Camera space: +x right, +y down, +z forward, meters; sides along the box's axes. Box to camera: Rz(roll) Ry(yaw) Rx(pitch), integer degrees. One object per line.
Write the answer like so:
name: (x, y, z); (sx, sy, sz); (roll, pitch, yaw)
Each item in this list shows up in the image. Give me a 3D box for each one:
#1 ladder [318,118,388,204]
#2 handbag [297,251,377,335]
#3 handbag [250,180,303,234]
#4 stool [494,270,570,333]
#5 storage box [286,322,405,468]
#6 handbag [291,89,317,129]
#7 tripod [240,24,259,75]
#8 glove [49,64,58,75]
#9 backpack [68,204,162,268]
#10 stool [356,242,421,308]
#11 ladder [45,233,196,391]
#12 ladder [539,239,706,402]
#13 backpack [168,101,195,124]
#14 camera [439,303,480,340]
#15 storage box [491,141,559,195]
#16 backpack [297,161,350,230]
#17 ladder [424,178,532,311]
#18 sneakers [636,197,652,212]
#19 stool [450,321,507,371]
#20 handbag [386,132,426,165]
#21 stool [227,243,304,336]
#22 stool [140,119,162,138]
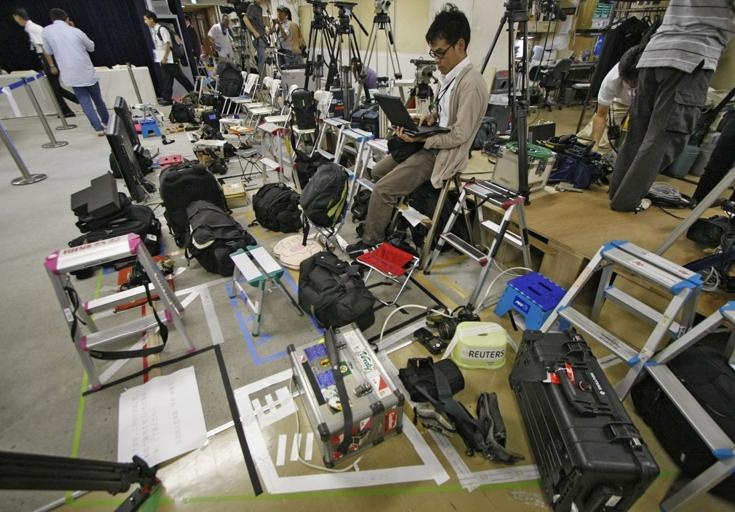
ladder: (-0.157, -1.047, 5.128); (0.384, 0.679, 1.056); (-12, 38, -16)
handbag: (-0.303, 0.212, 4.166); (0.789, 0.491, 0.571); (39, 28, 30)
handbag: (-1.002, -0.569, 5.288); (0.518, 0.517, 0.543); (-17, 41, -33)
stool: (1.403, 0.325, 4.064); (0.477, 0.315, 0.477); (-25, 44, -26)
storage box: (-0.191, 0.991, 3.596); (0.626, 0.556, 0.842); (-18, 41, -19)
handbag: (-0.871, -1.932, 6.125); (0.365, 0.504, 0.278); (-13, 23, -20)
tripod: (-2.564, -4.507, 10.062); (0.311, 1.108, 1.584); (-7, 34, -13)
glove: (-6.085, -3.633, 9.095); (0.121, 0.220, 0.268); (-18, 38, -28)
backpack: (-2.500, -0.280, 4.805); (0.724, 0.308, 0.735); (-12, 48, -5)
stool: (0.127, 0.177, 4.431); (0.535, 0.429, 0.484); (26, 23, 17)
ladder: (-1.999, 0.384, 3.840); (0.843, 1.056, 0.696); (-14, 36, -23)
ladder: (1.998, 0.486, 3.711); (1.072, 1.032, 0.874); (-10, 34, -22)
backpack: (-3.533, -2.747, 8.974); (0.462, 0.497, 0.377); (6, 17, -2)
camera: (0.741, 0.541, 4.027); (0.306, 0.196, 0.285); (-11, 41, -30)
storage box: (1.541, -0.977, 4.908); (0.604, 0.559, 0.604); (-14, 31, -29)
backpack: (-0.448, -0.617, 4.834); (0.412, 0.734, 0.577); (-8, 28, -35)
ladder: (1.056, -0.223, 4.434); (0.968, 0.943, 0.957); (-17, 37, -27)
sneakers: (2.698, -0.517, 4.621); (0.198, 0.078, 0.109); (-26, 43, -18)
stool: (0.924, 0.714, 3.915); (0.473, 0.259, 0.420); (0, 33, -1)
handbag: (0.335, -1.078, 4.644); (0.290, 0.115, 0.290); (-33, 55, -28)
stool: (-0.972, 0.251, 4.245); (0.551, 0.482, 0.670); (-25, 39, -29)
stool: (-3.723, -2.243, 8.128); (0.357, 0.324, 0.296); (-21, 48, -28)
